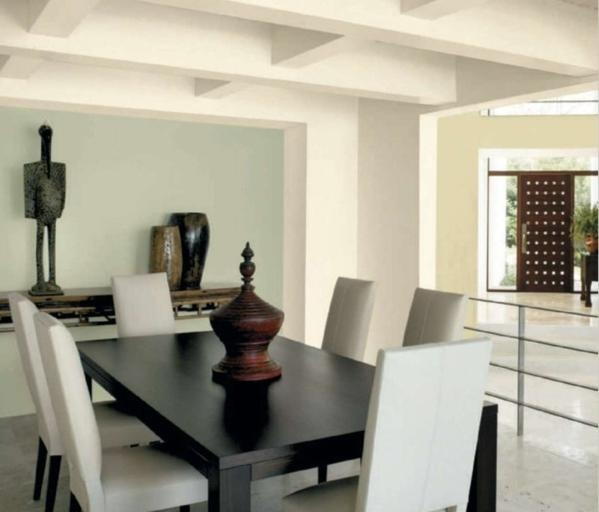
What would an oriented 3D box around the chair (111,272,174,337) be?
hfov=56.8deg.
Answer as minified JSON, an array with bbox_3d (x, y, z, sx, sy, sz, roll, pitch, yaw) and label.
[{"bbox_3d":[-1.036,0.330,3.659,0.371,0.446,0.174,-7,3,-31],"label":"chair"}]
